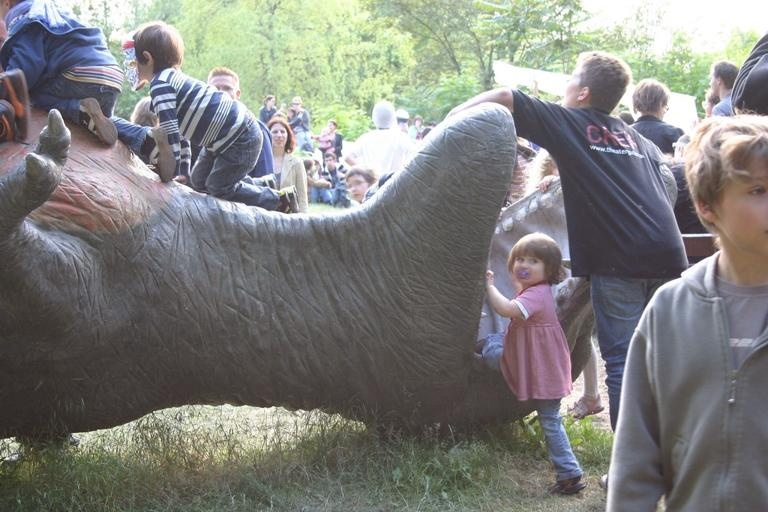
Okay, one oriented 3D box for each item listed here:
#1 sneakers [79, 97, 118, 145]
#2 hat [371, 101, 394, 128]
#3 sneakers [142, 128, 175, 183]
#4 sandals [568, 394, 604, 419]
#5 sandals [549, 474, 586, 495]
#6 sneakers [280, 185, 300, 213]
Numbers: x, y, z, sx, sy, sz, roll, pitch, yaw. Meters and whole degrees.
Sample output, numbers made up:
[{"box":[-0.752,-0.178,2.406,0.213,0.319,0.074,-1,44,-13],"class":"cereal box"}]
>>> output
[{"box":[-1.585,-0.750,4.602,0.126,0.312,0.126,-39,0,-34],"class":"sneakers"},{"box":[-0.001,-1.469,8.575,0.216,0.245,0.297,0,28,4],"class":"hat"},{"box":[-1.259,-0.571,4.653,0.074,0.284,0.162,-10,2,6],"class":"sneakers"},{"box":[1.437,1.069,5.846,0.284,0.137,0.146,-13,2,-13],"class":"sandals"},{"box":[1.070,1.328,4.793,0.223,0.097,0.083,-4,6,-3],"class":"sandals"},{"box":[-0.684,-0.403,5.983,0.165,0.212,0.083,3,20,45],"class":"sneakers"}]
